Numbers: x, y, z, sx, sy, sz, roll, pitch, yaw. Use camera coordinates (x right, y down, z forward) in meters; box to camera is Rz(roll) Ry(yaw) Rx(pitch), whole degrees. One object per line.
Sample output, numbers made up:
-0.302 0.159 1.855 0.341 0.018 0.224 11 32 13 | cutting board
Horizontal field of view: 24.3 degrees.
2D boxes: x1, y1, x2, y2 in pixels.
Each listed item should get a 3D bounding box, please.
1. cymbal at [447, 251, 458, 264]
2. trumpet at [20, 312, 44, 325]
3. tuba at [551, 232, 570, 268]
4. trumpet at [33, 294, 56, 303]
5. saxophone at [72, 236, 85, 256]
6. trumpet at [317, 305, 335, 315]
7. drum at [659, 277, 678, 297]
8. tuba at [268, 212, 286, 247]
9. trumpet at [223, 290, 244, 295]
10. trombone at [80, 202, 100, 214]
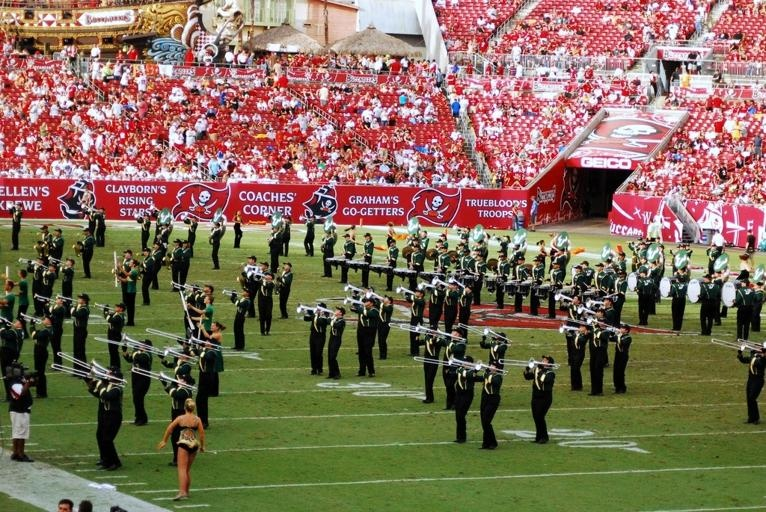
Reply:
2.517 0.038 63.613 0.418 0.364 0.091 0 10 -26 | cymbal
-10.674 1.940 54.549 0.881 0.236 0.366 11 -21 -26 | trumpet
6.240 -0.239 62.047 1.009 1.045 0.331 4 -8 -14 | tuba
-10.685 1.365 56.535 0.800 0.198 0.301 1 -43 -20 | trumpet
-10.977 -0.333 64.690 0.442 0.643 0.529 5 -21 -25 | saxophone
-1.691 1.657 54.144 0.460 0.232 0.250 7 1 -14 | trumpet
9.682 1.088 60.681 0.614 0.493 0.569 6 4 -8 | drum
-3.950 -0.863 66.006 0.711 1.325 0.596 -16 32 -30 | tuba
-4.814 1.200 57.842 0.684 0.186 0.278 1 -28 2 | trumpet
-11.811 -1.932 72.100 0.558 0.230 0.533 19 -1 -36 | trombone
